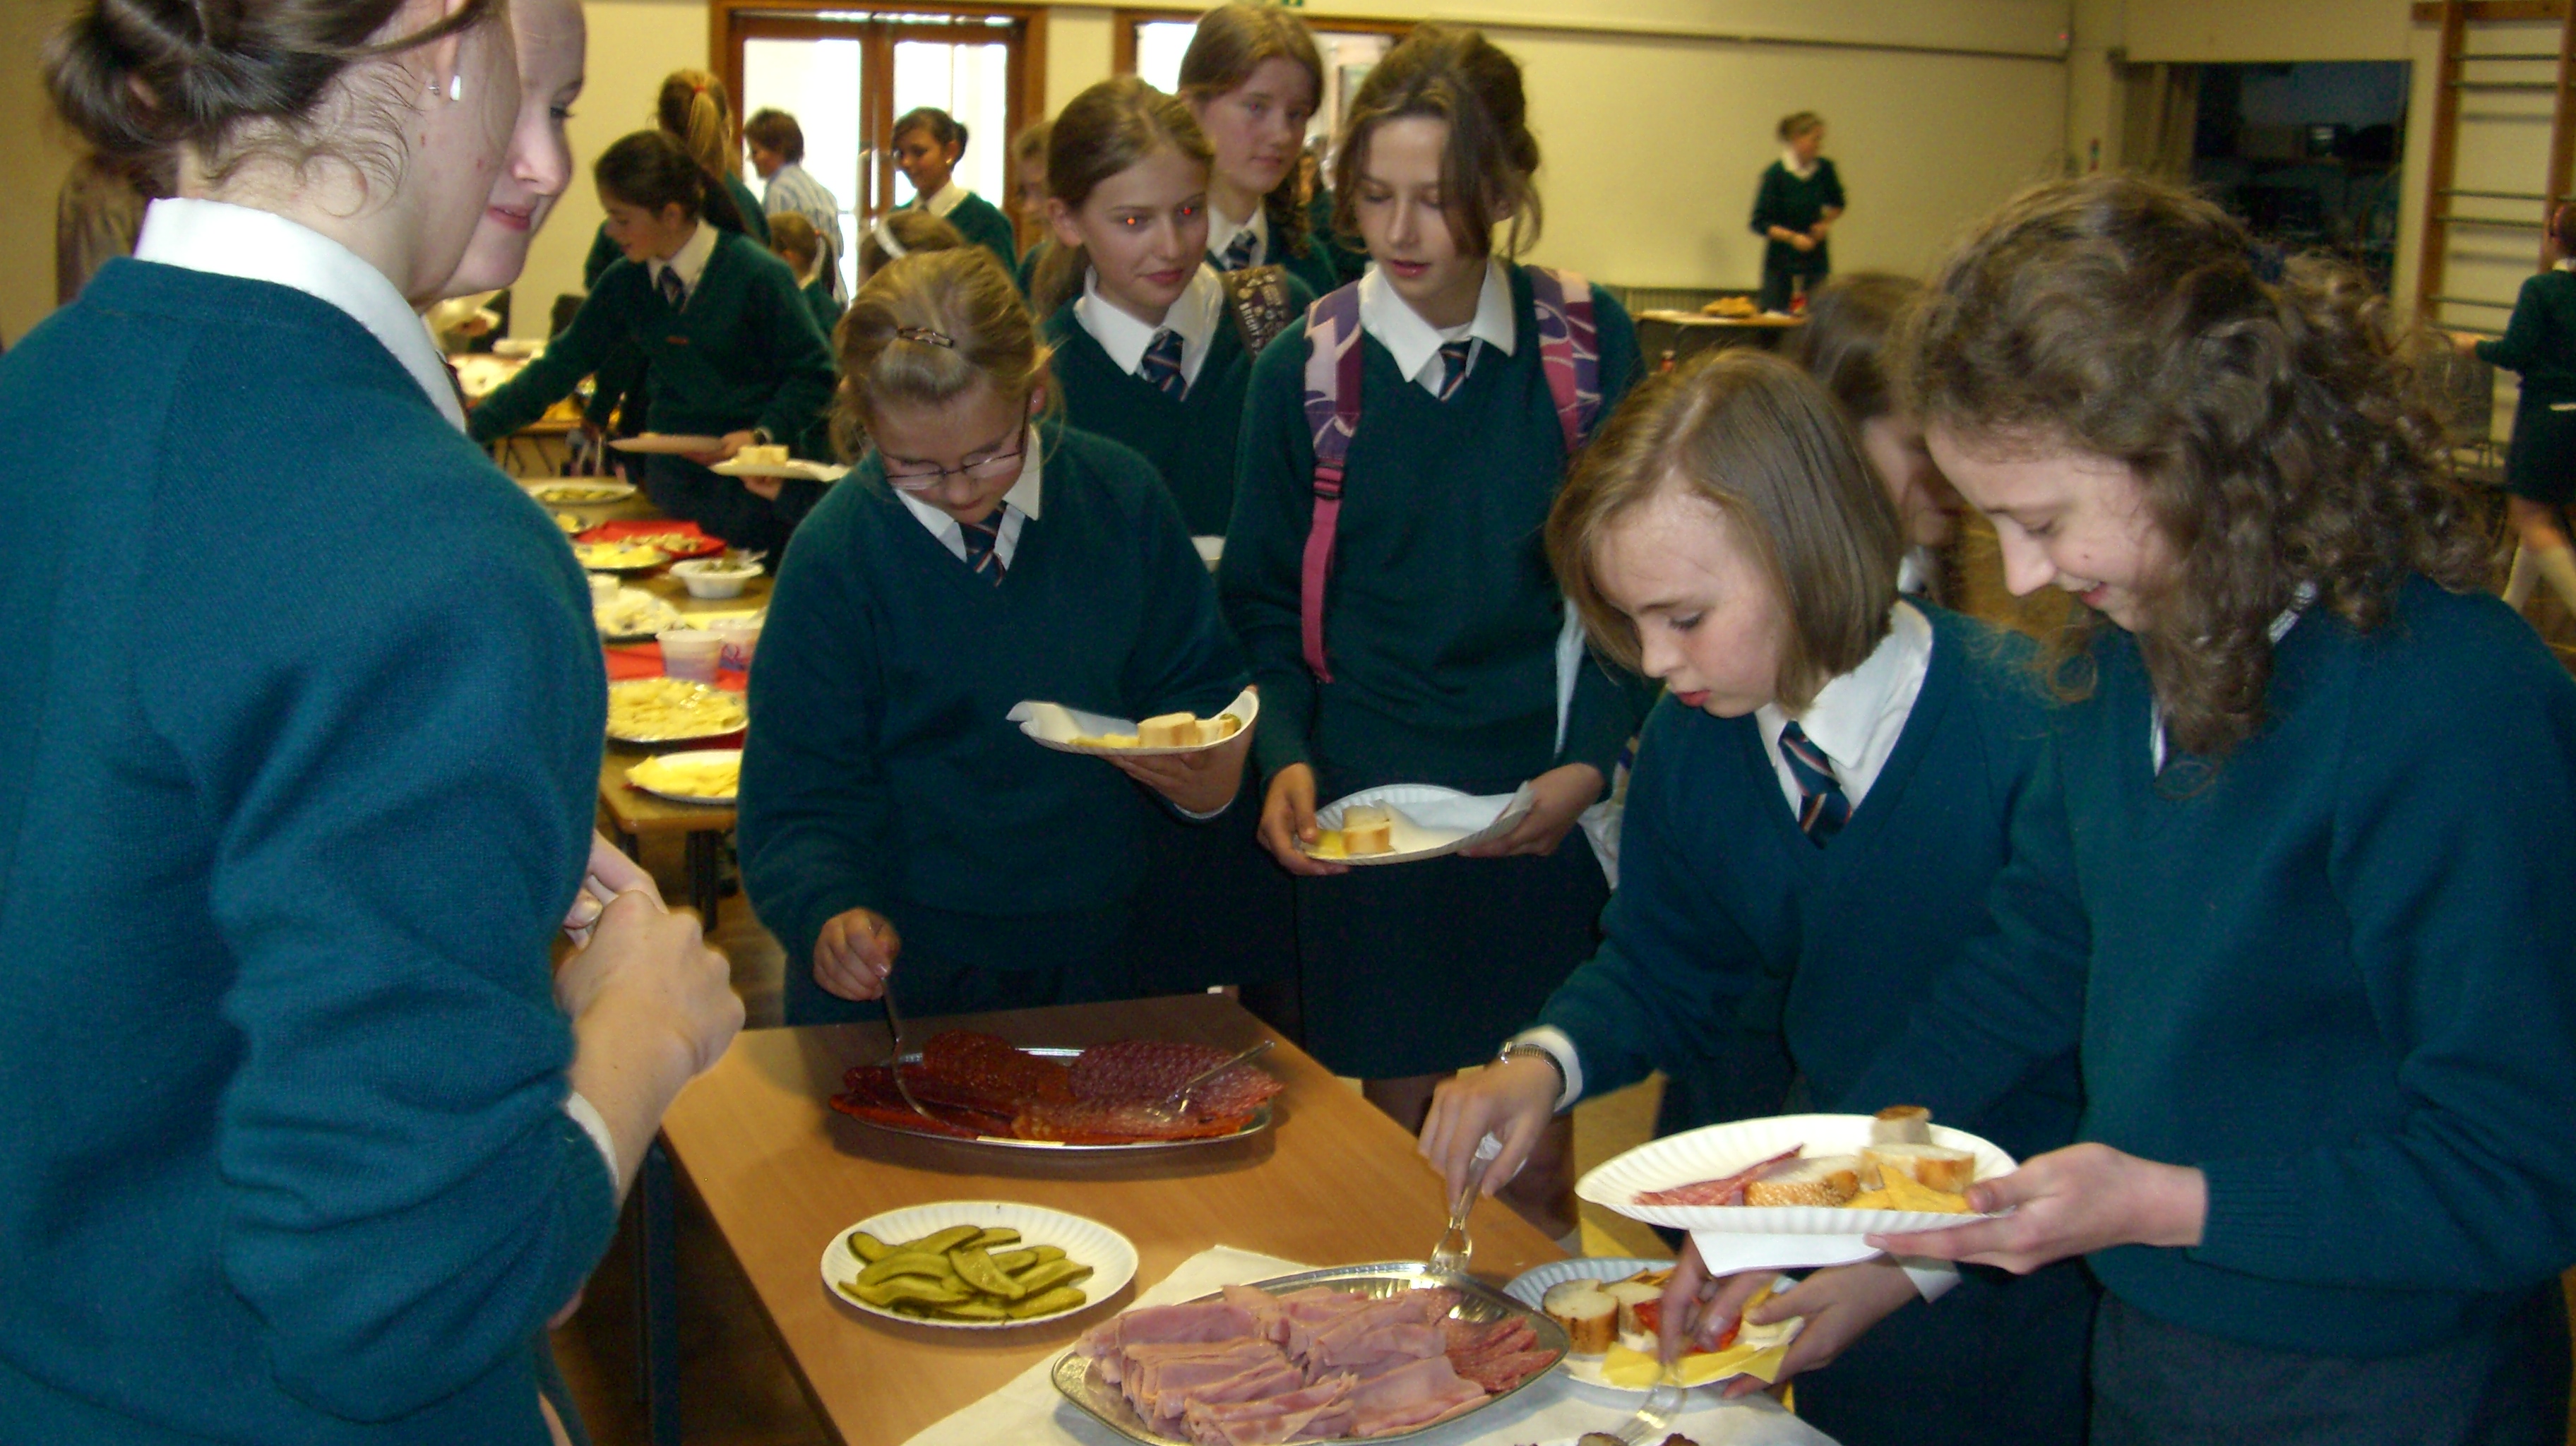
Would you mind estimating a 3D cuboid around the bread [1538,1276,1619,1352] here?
[{"bbox_3d":[0.370,0.747,2.351,0.077,0.042,0.072,-13,21,-28],"label":"bread"}]

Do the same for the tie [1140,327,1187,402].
[{"bbox_3d":[-0.265,-0.776,4.017,0.119,0.132,0.049,-8,16,-35],"label":"tie"}]

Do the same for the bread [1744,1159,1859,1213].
[{"bbox_3d":[0.584,0.518,2.090,0.077,0.028,0.059,0,9,29],"label":"bread"}]

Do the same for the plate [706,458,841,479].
[{"bbox_3d":[-1.493,-0.744,5.467,0.323,0.038,0.316,-1,3,-9],"label":"plate"}]

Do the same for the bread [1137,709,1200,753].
[{"bbox_3d":[-0.204,0.016,3.159,0.081,0.045,0.074,-9,3,6],"label":"bread"}]

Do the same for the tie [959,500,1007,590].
[{"bbox_3d":[-0.526,-0.303,3.223,0.098,0.114,0.042,-16,13,-28],"label":"tie"}]

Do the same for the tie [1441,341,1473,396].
[{"bbox_3d":[0.320,-0.661,3.472,0.066,0.094,0.053,2,12,6],"label":"tie"}]

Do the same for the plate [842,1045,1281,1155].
[{"bbox_3d":[-0.319,0.566,2.764,0.440,0.042,0.250,2,5,-5],"label":"plate"}]

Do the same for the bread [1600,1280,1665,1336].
[{"bbox_3d":[0.456,0.744,2.358,0.058,0.033,0.052,-2,12,2],"label":"bread"}]

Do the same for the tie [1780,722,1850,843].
[{"bbox_3d":[0.763,0.086,2.669,0.107,0.156,0.041,-12,11,46],"label":"tie"}]
